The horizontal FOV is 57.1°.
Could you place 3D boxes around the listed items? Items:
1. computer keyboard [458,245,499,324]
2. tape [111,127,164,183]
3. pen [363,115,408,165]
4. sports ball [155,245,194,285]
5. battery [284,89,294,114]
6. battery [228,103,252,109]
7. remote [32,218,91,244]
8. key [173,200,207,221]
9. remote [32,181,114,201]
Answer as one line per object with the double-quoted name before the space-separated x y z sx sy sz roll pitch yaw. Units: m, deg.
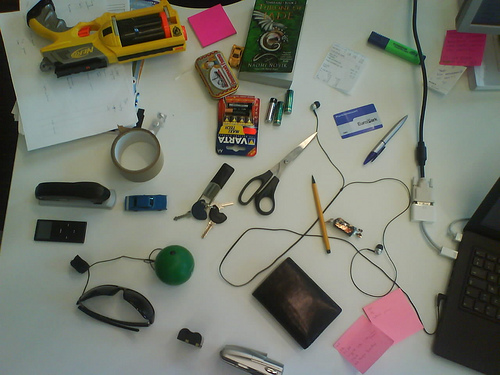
"computer keyboard" 0.684 0.292 1.374 0.117 0.211 0.083 -1 5 20
"tape" -0.338 -0.095 1.398 0.149 0.167 0.091 -4 5 -12
"pen" 0.433 -0.146 1.475 0.022 0.175 0.019 35 -18 -1
"sports ball" -0.220 0.230 1.362 0.101 0.126 0.116 -12 26 -20
"battery" 0.126 -0.272 1.482 0.017 0.067 0.060 9 -17 0
"battery" -0.032 -0.259 1.464 0.051 0.020 0.014 5 -3 0
"remote" -0.569 0.136 1.405 0.138 0.012 0.079 7 46 -22
"key" -0.182 0.070 1.409 0.099 0.057 0.016 -3 5 3
"remote" -0.549 0.012 1.395 0.252 0.068 0.091 -4 6 3
